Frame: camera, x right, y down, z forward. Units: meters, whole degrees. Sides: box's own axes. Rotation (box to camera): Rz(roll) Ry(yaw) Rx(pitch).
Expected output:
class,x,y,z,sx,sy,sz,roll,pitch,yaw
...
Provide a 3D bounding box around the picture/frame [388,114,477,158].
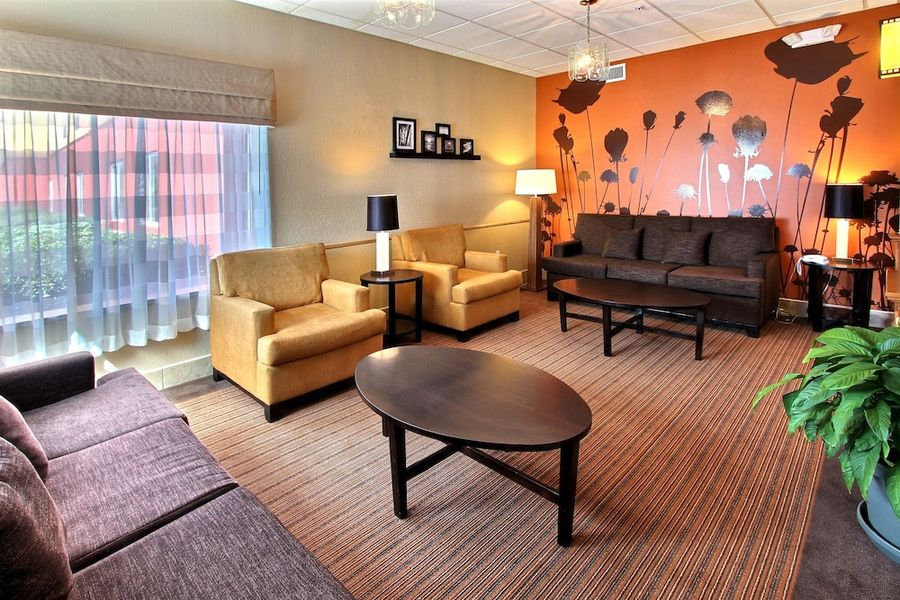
class,x,y,z,sx,sy,sz,roll,pitch,yaw
picture/frame,-0.194,-1.760,5.970,0.090,0.426,1.192,14,19,43

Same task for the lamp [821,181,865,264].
class,x,y,z,sx,sy,sz,roll,pitch,yaw
lamp,3.773,-0.755,5.232,0.319,0.702,0.474,10,18,35

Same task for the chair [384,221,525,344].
class,x,y,z,sx,sy,sz,roll,pitch,yaw
chair,0.247,-0.263,5.766,1.312,1.117,1.229,8,13,42

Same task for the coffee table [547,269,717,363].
class,x,y,z,sx,sy,sz,roll,pitch,yaw
coffee table,1.644,0.165,5.063,1.372,0.547,0.889,7,15,28

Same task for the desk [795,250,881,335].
class,x,y,z,sx,sy,sz,roll,pitch,yaw
desk,3.808,-0.091,5.459,0.902,0.830,0.879,3,12,27

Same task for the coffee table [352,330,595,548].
class,x,y,z,sx,sy,sz,roll,pitch,yaw
coffee table,0.173,0.579,3.103,1.004,0.563,1.436,-10,19,-34
